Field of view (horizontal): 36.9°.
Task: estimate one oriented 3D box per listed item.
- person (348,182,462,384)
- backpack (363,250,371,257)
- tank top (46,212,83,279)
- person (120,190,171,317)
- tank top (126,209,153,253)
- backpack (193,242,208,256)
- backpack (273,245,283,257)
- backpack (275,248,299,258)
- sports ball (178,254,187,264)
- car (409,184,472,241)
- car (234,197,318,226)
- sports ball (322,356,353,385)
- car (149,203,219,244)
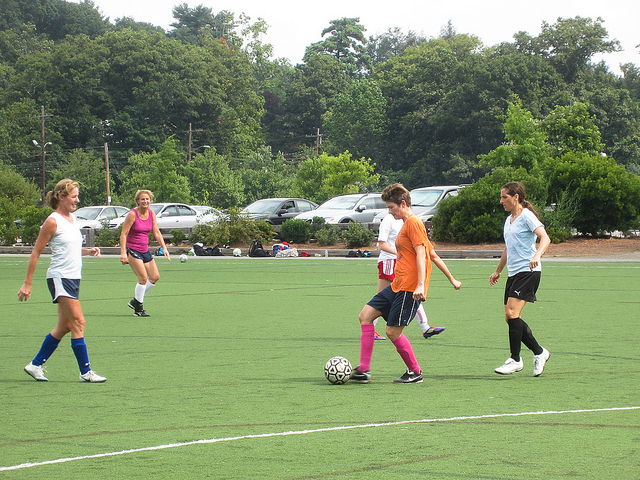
[{"bbox_3d":[0.828,0.521,11.321,1.028,2.330,0.961,-1,0,5],"label":"person"},{"bbox_3d":[1.580,0.513,32.397,0.222,0.186,0.205,0,-6,4],"label":"backpack"},{"bbox_3d":[-2.953,0.083,11.180,0.449,0.623,0.342,-1,0,-35],"label":"tank top"},{"bbox_3d":[-3.005,0.250,16.253,0.659,1.638,1.192,-1,0,-4],"label":"person"},{"bbox_3d":[-3.072,-0.120,16.276,0.174,0.558,0.440,-1,0,37],"label":"tank top"},{"bbox_3d":[-4.350,0.417,34.525,0.713,0.578,0.397,2,-7,-19],"label":"backpack"},{"bbox_3d":[-1.377,0.401,33.321,0.448,0.368,0.306,-1,-2,-11],"label":"backpack"},{"bbox_3d":[-1.102,0.486,32.628,0.520,0.187,0.310,2,-4,15],"label":"backpack"},{"bbox_3d":[-4.474,0.668,31.335,0.173,0.171,0.197,32,9,-18],"label":"sports ball"},{"bbox_3d":[3.943,-1.070,35.684,3.535,1.671,1.955,2,-4,-37],"label":"car"},{"bbox_3d":[-1.845,-1.113,38.742,1.247,0.804,2.831,-1,-3,44],"label":"car"},{"bbox_3d":[0.205,1.577,11.316,0.347,0.288,0.323,17,18,-6],"label":"sports ball"},{"bbox_3d":[-5.679,-0.743,38.861,3.327,0.967,1.462,3,-4,-33],"label":"car"}]
